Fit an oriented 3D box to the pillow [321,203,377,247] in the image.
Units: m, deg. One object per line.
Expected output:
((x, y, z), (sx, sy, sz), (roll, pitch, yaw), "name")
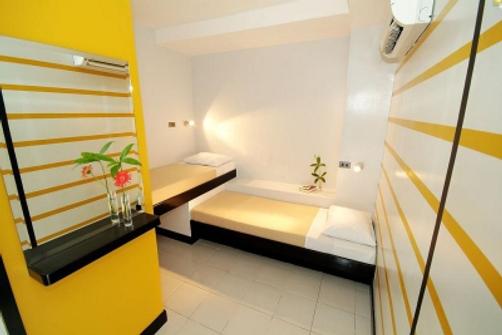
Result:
((1.042, 0.609, 3.367), (0.381, 0.420, 0.124), (4, -60, 26), "pillow")

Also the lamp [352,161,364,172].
((1.279, -0.015, 3.711), (0.111, 0.103, 0.121), (21, -53, 22), "lamp")

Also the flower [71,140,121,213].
((-1.172, 0.046, 2.611), (0.328, 0.437, 0.508), (27, -57, 46), "flower")

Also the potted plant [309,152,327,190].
((0.929, 0.059, 4.283), (0.227, 0.235, 0.470), (-13, -82, 10), "potted plant")
